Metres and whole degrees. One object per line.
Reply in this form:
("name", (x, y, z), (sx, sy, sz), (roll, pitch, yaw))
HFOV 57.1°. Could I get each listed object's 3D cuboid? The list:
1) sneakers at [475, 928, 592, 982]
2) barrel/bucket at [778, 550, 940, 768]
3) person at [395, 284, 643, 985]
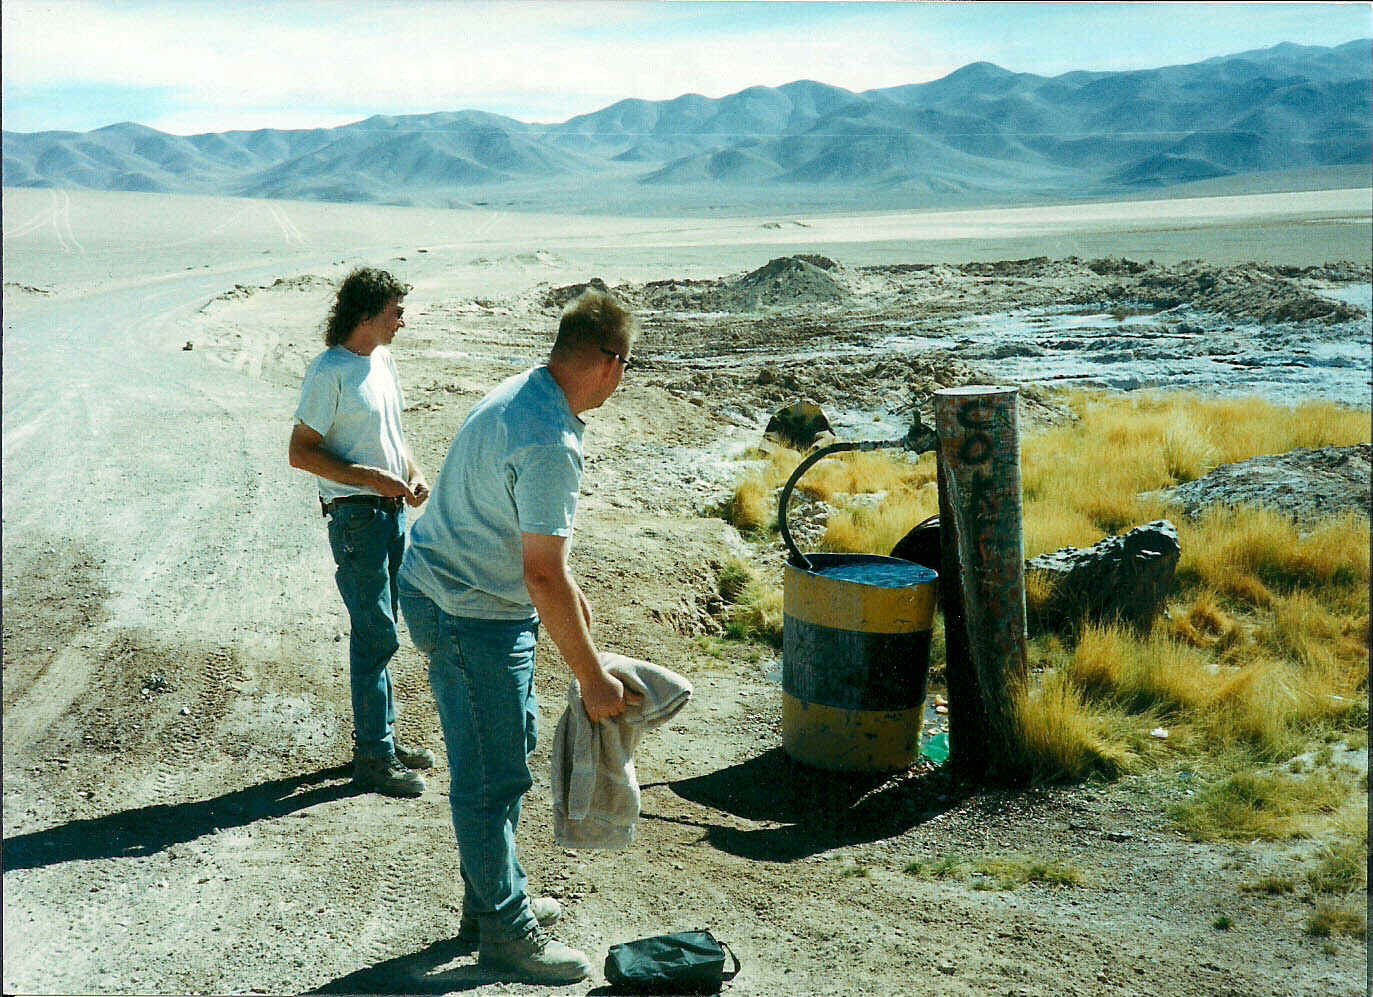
("sneakers", (-0.702, 2.135, 5.932), (0.564, 0.224, 0.208), (3, 4, -4))
("barrel/bucket", (0.974, 0.970, 8.138), (1.276, 1.242, 1.198), (1, 11, 0))
("person", (-0.737, 0.691, 5.753), (0.960, 3.124, 0.657), (-6, 17, -12))
